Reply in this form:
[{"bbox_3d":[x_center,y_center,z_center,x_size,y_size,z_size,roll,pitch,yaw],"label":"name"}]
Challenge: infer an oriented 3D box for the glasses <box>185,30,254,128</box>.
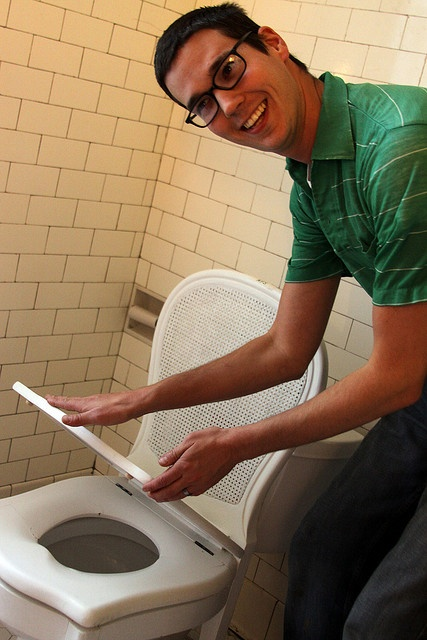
[{"bbox_3d":[0.005,-0.401,0.845,0.039,0.139,0.139,44,-44,-1],"label":"glasses"}]
